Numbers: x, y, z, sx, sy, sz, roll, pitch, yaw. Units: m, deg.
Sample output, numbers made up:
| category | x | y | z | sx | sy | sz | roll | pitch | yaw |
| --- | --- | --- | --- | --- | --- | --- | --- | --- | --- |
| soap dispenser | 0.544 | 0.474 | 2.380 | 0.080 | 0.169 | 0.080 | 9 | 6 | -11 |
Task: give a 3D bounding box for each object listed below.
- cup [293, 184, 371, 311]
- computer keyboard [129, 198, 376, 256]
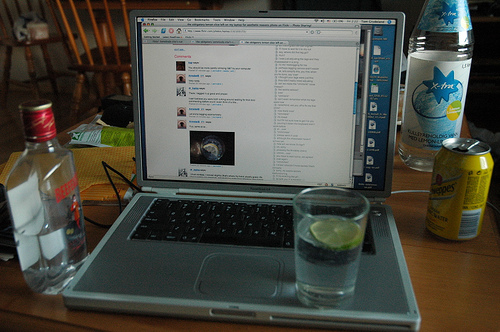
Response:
| category | x | y | z | sx | sy | sz | roll | pitch | yaw |
| --- | --- | --- | --- | --- | --- | --- | --- | --- | --- |
| cup | 0.148 | 0.159 | 0.745 | 0.133 | 0.200 | 0.130 | -1 | 22 | 0 |
| computer keyboard | 0.008 | 0.132 | 0.890 | 0.573 | 0.020 | 0.214 | 1 | 30 | 5 |
